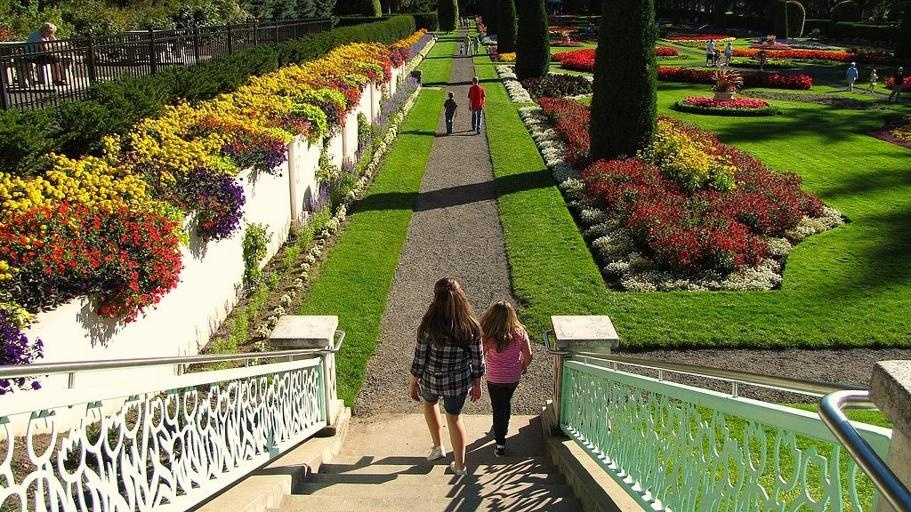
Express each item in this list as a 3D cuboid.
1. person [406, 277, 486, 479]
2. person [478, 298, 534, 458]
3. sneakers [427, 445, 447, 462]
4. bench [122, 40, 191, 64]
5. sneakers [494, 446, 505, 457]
[{"bbox_3d":[-0.058,1.538,7.725,0.801,2.524,0.623,14,25,36],"label":"person"},{"bbox_3d":[0.678,1.703,8.217,0.658,2.252,0.531,-2,20,-2],"label":"person"},{"bbox_3d":[-0.251,2.653,8.112,0.129,0.132,0.321,-16,-4,-30],"label":"sneakers"},{"bbox_3d":[-7.384,-5.096,15.046,0.593,0.587,2.674,-3,18,-6],"label":"bench"},{"bbox_3d":[0.605,2.673,8.298,0.086,0.088,0.202,0,10,3],"label":"sneakers"}]
